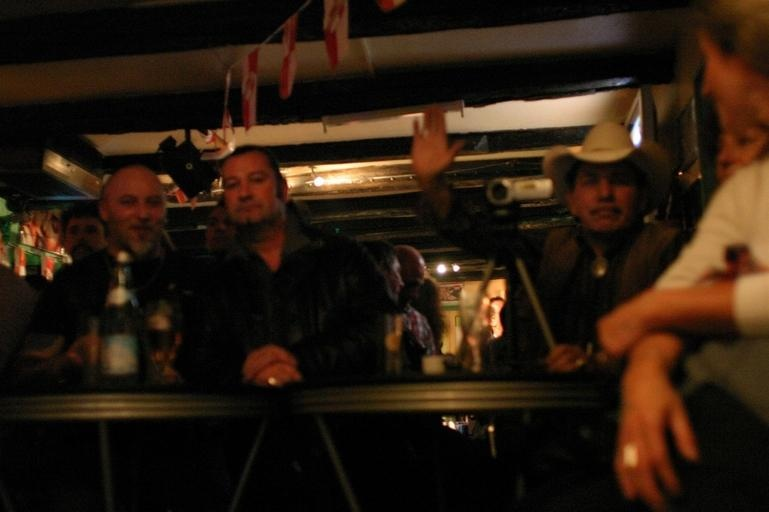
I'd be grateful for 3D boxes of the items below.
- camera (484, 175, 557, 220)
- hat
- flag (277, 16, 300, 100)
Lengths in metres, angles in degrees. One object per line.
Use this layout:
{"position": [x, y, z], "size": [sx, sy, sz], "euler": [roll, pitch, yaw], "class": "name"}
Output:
{"position": [0.601, -0.257, 3.632], "size": [0.186, 0.171, 0.373], "euler": [0, 7, 40], "class": "camera"}
{"position": [1.406, -0.650, 5.092], "size": [0.863, 0.330, 0.794], "euler": [0, -21, 14], "class": "hat"}
{"position": [-0.567, -1.220, 5.001], "size": [0.087, 0.591, 0.138], "euler": [-22, -41, 34], "class": "flag"}
